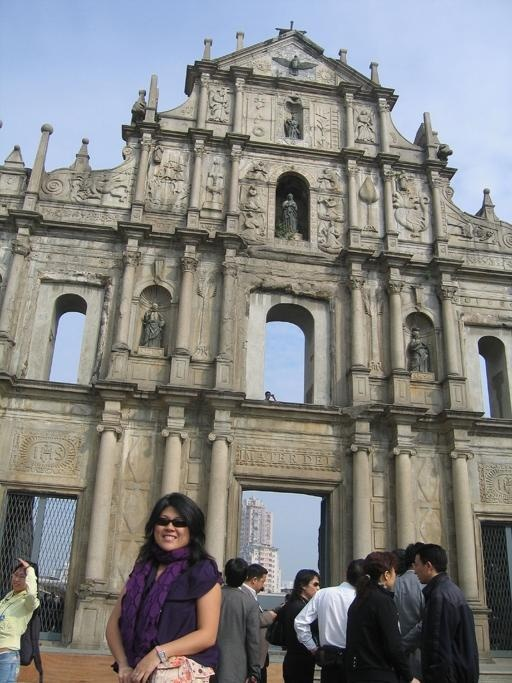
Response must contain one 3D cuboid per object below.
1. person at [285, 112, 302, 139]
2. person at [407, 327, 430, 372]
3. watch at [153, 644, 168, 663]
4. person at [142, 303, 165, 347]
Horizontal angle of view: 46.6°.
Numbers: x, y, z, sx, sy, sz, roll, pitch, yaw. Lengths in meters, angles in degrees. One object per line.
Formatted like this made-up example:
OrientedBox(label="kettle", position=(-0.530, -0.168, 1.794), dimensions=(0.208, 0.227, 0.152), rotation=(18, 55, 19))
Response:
OrientedBox(label="person", position=(1.132, -6.626, 18.239), dimensions=(0.558, 1.178, 0.200), rotation=(6, -23, -5))
OrientedBox(label="person", position=(4.415, 0.236, 16.156), dimensions=(0.580, 1.510, 0.460), rotation=(19, -27, -33))
OrientedBox(label="watch", position=(-0.340, 1.119, 2.137), dimensions=(0.030, 0.045, 0.043), rotation=(-30, 15, -33))
OrientedBox(label="person", position=(-2.625, -0.368, 15.184), dimensions=(0.598, 1.275, 0.345), rotation=(8, -23, -11))
